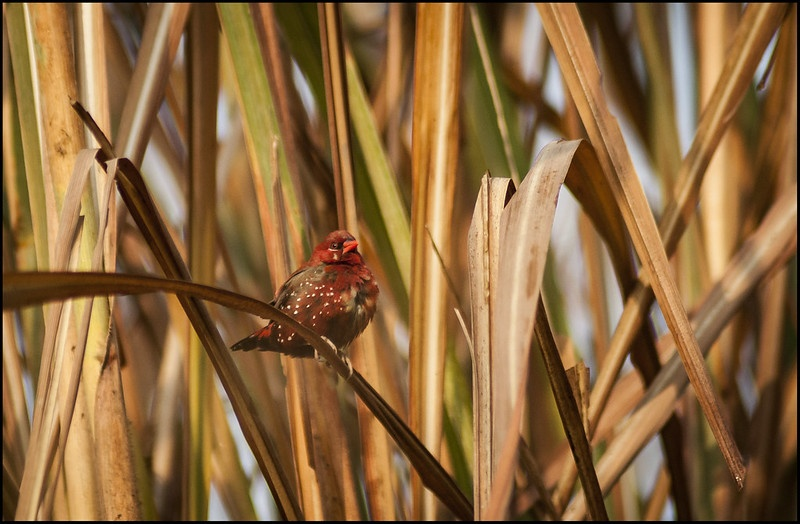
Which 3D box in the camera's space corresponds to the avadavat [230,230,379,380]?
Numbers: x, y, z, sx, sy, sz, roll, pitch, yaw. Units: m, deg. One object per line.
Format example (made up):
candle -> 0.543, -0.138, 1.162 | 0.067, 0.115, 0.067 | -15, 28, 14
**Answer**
avadavat -> -0.250, 0.132, 3.274 | 0.395, 0.377, 0.382 | -6, -32, -1
